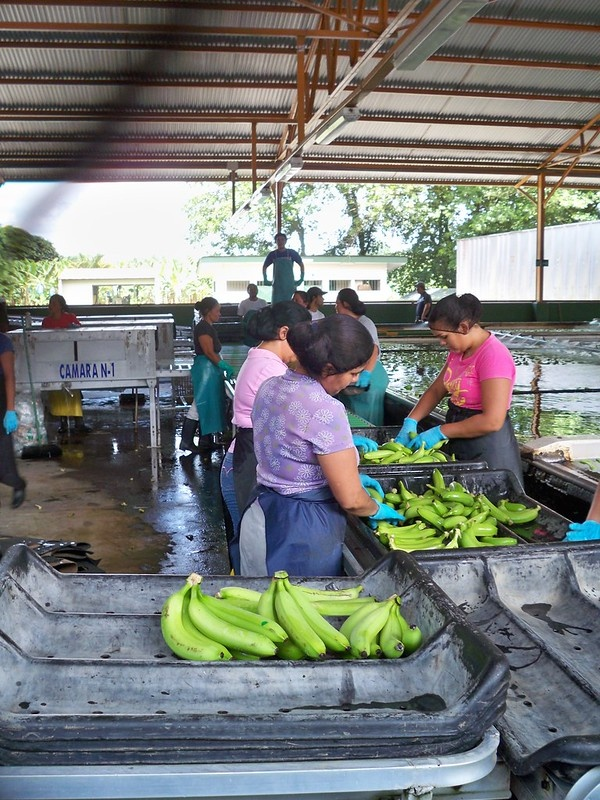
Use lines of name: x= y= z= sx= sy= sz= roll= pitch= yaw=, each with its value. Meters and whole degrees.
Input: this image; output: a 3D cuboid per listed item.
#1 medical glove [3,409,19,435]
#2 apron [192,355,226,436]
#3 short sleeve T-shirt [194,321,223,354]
medical glove: x=-2.731 y=0.200 z=5.238 sx=0.068 sy=0.202 sz=0.162 roll=4 pitch=14 yaw=43
apron: x=-1.187 y=-0.080 z=7.233 sx=0.464 sy=1.055 sz=0.840 roll=-2 pitch=17 yaw=-1
short sleeve T-shirt: x=-1.173 y=-0.876 z=7.310 sx=0.408 sy=0.569 sz=0.645 roll=-1 pitch=12 yaw=-17
